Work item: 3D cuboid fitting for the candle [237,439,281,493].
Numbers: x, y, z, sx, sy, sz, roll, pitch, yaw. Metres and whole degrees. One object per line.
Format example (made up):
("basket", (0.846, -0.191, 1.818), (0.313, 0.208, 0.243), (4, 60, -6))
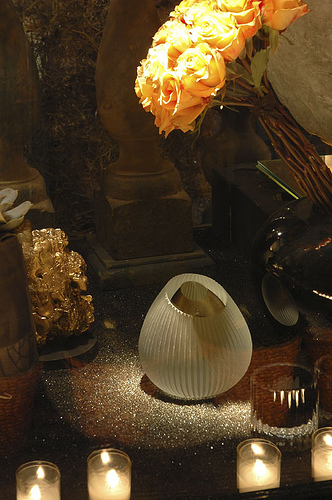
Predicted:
("candle", (0.117, 0.277, 0.584), (0.053, 0.062, 0.057), (0, 44, 8))

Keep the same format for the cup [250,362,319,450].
("cup", (0.171, 0.229, 0.725), (0.122, 0.115, 0.124), (-1, 7, 0))

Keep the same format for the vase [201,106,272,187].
("vase", (0.222, -0.342, 1.494), (0.229, 0.240, 0.088), (-14, 45, -7))

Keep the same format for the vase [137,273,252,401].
("vase", (0.045, 0.155, 0.783), (0.174, 0.170, 0.163), (-29, 47, -22))

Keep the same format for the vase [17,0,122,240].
("vase", (-0.265, -0.367, 1.386), (0.227, 0.652, 0.319), (4, 45, 12))

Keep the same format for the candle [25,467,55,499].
("candle", (-0.140, 0.270, 0.534), (0.032, 0.031, 0.031), (-1, 12, -7))
